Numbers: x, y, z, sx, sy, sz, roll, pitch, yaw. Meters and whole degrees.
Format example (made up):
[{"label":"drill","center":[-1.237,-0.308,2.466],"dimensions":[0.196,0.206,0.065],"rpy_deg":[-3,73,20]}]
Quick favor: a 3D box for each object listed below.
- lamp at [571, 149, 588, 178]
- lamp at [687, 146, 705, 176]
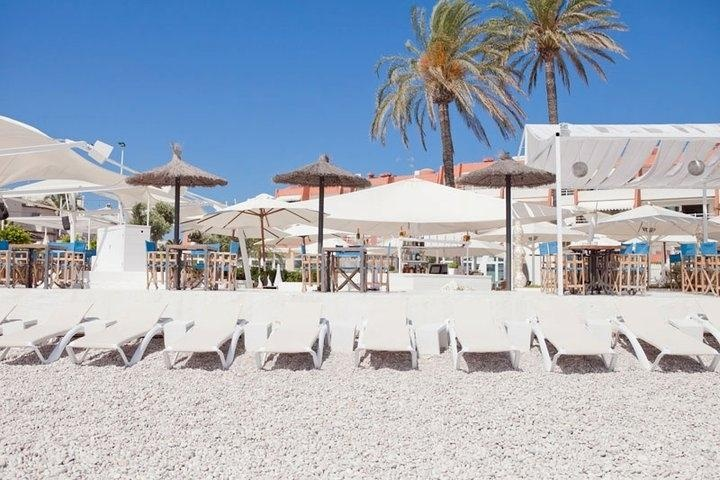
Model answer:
[{"label":"lamp","center":[6.188,-2.062,16.812],"dimensions":[0.377,0.687,1.146],"rpy_deg":[-1,-5,19]},{"label":"lamp","center":[9.174,-2.022,16.448],"dimensions":[0.479,0.581,0.489],"rpy_deg":[3,-9,10]}]
